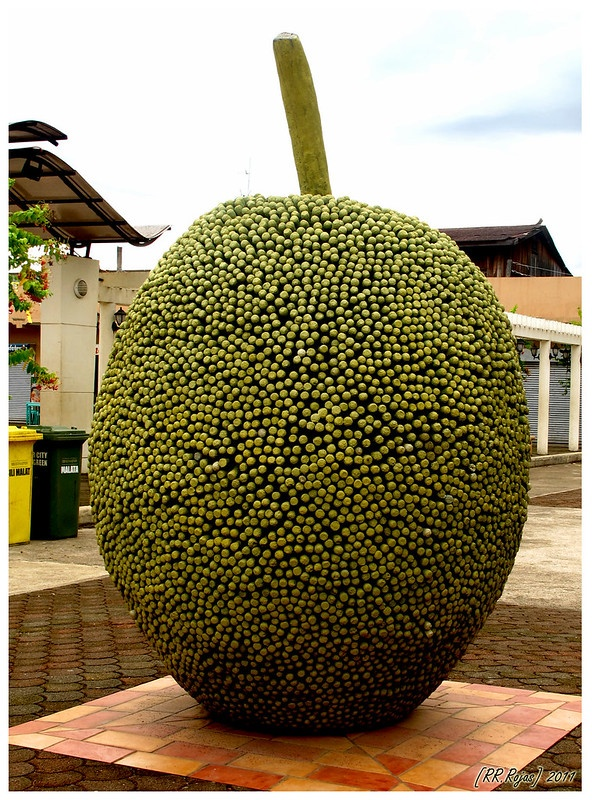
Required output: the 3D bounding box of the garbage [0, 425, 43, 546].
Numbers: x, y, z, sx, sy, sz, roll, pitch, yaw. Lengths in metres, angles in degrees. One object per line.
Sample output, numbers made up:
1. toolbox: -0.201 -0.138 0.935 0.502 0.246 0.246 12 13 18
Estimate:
1. garbage: -2.842 0.895 9.145 0.320 1.232 0.574 0 -3 -16
